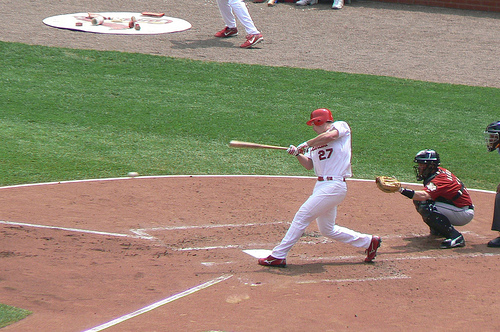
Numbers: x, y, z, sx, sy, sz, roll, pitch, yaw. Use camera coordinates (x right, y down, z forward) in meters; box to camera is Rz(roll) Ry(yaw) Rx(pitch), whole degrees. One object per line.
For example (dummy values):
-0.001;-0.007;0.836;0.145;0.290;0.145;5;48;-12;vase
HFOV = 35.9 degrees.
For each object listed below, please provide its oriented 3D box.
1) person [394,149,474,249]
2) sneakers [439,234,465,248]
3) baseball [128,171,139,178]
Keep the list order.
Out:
3.716;0.658;15.115;1.379;1.881;0.728;10;14;7;person
3.962;1.493;15.113;0.673;0.162;0.193;-1;4;-4;sneakers
-2.640;0.189;17.384;0.250;0.094;0.230;3;10;-8;baseball
